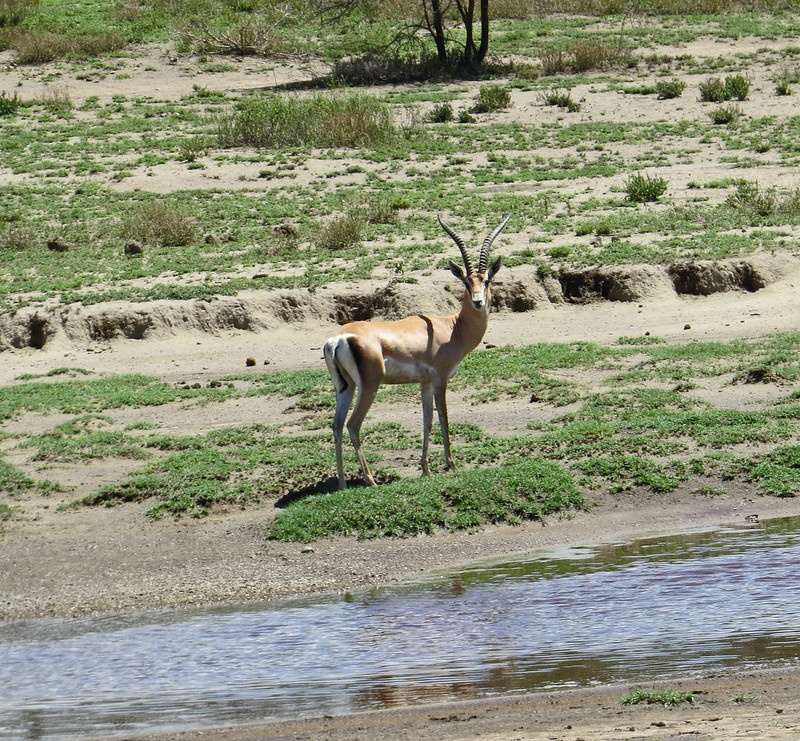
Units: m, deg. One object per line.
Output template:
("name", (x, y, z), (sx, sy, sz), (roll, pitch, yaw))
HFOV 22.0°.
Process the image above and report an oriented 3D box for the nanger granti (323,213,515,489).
("nanger granti", (0.157, 0.084, 35.362), (2.952, 3.476, 1.043), (-11, 19, -24))
